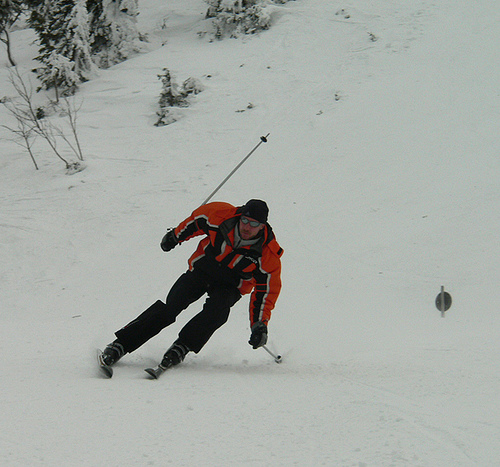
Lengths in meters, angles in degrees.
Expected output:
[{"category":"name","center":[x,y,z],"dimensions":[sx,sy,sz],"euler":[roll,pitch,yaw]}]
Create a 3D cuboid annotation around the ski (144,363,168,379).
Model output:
[{"category":"ski","center":[-1.129,1.626,9.885],"dimensions":[0.171,0.154,0.240],"euler":[11,40,21]}]
